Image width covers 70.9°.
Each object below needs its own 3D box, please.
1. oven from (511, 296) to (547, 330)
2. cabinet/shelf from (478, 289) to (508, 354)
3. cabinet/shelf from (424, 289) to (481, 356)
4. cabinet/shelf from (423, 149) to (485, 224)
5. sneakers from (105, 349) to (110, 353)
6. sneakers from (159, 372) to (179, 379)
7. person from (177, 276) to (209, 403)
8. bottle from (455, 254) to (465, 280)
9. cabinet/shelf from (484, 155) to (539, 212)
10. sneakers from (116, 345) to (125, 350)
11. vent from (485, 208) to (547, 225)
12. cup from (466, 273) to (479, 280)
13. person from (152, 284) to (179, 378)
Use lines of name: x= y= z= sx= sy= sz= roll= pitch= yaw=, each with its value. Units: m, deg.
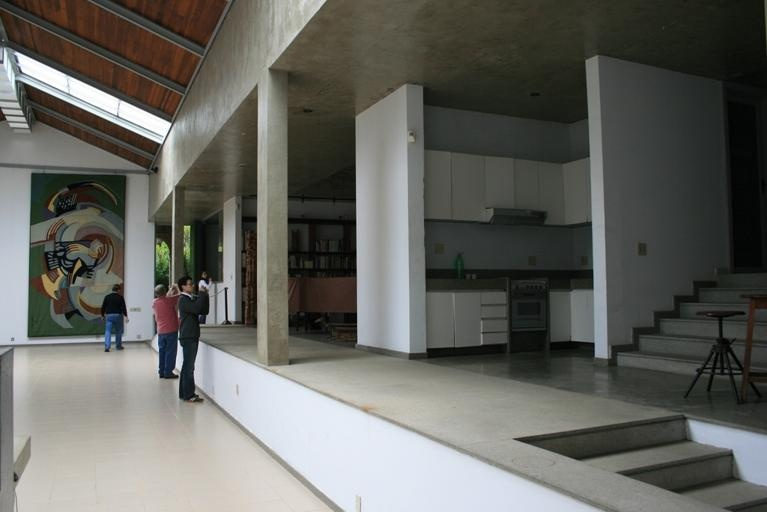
oven: x=2.213 y=0.912 z=8.735 sx=0.778 sy=0.662 sz=0.413 roll=2 pitch=-3 yaw=-28
cabinet/shelf: x=1.680 y=0.981 z=8.541 sx=0.512 sy=0.812 sz=0.499 roll=0 pitch=-1 yaw=-25
cabinet/shelf: x=0.993 y=0.991 z=8.072 sx=0.972 sy=0.932 sz=0.323 roll=1 pitch=-2 yaw=-16
cabinet/shelf: x=1.135 y=-1.169 z=8.640 sx=1.015 sy=0.970 sz=0.601 roll=-5 pitch=8 yaw=-17
sneakers: x=-8.042 y=2.752 z=15.720 sx=0.134 sy=0.045 sz=0.135 roll=-3 pitch=7 yaw=-40
sneakers: x=-4.342 y=2.430 z=10.906 sx=0.291 sy=0.125 sz=0.158 roll=0 pitch=1 yaw=-23
person: x=-3.100 y=1.391 z=8.791 sx=0.436 sy=2.065 sz=0.658 roll=-1 pitch=4 yaw=-21
bottle: x=1.246 y=0.152 z=8.685 sx=0.221 sy=0.384 sz=0.119 roll=-3 pitch=4 yaw=-41
cabinet/shelf: x=2.185 y=-1.264 z=8.940 sx=0.947 sy=0.824 sz=0.328 roll=4 pitch=25 yaw=22
sneakers: x=-7.930 y=2.769 z=16.268 sx=0.220 sy=0.153 sz=0.080 roll=-4 pitch=6 yaw=-35
vent: x=2.147 y=-0.633 z=8.707 sx=0.574 sy=0.133 sz=0.390 roll=1 pitch=-2 yaw=-20
cup: x=1.459 y=0.328 z=8.768 sx=0.261 sy=0.075 sz=0.127 roll=-2 pitch=4 yaw=-39
person: x=-4.171 y=1.497 z=10.389 sx=0.422 sy=1.990 sz=1.270 roll=-1 pitch=3 yaw=-21
